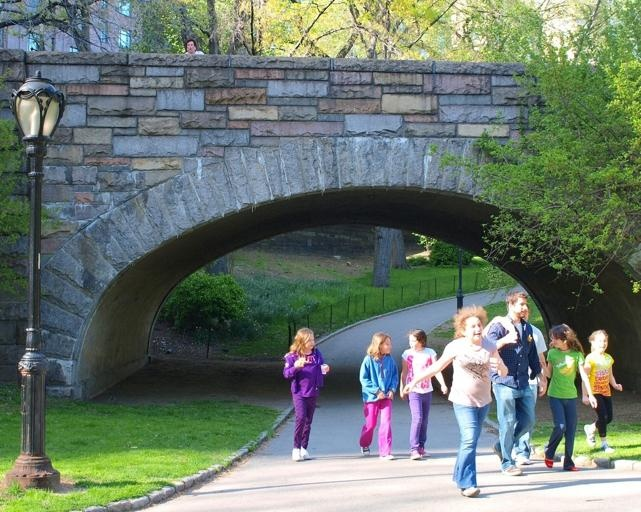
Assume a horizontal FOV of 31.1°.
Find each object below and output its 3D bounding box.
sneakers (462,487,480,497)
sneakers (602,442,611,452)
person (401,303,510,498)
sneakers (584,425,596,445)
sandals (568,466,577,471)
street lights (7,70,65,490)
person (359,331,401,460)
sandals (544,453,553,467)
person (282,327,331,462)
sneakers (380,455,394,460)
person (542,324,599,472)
[{"bbox_3d":[2.258,3.546,17.297,0.112,0.123,0.278,0,-17,-43],"label":"sneakers"},{"bbox_3d":[4.762,3.135,18.973,0.172,0.160,0.255,-1,-3,14],"label":"sneakers"},{"bbox_3d":[2.254,2.189,17.433,1.121,2.843,0.477,0,-3,8],"label":"person"},{"bbox_3d":[4.601,3.027,19.510,0.129,0.347,0.235,-13,0,-36],"label":"sneakers"},{"bbox_3d":[4.031,3.361,18.286,0.128,0.072,0.038,-1,-3,11],"label":"sandals"},{"bbox_3d":[-4.411,0.366,17.728,0.814,6.340,0.484,1,-3,-15],"label":"street lights"},{"bbox_3d":[0.984,2.368,19.487,0.668,2.107,0.504,-1,-3,24],"label":"person"},{"bbox_3d":[3.682,3.274,18.447,0.092,0.247,0.066,-11,0,-14],"label":"sandals"},{"bbox_3d":[-0.259,2.329,19.377,0.678,2.190,0.539,0,-3,-2],"label":"person"},{"bbox_3d":[1.128,3.385,19.345,0.191,0.075,0.070,-5,-6,29],"label":"sneakers"},{"bbox_3d":[3.995,2.264,18.514,0.691,2.291,0.800,-2,-3,31],"label":"person"}]
